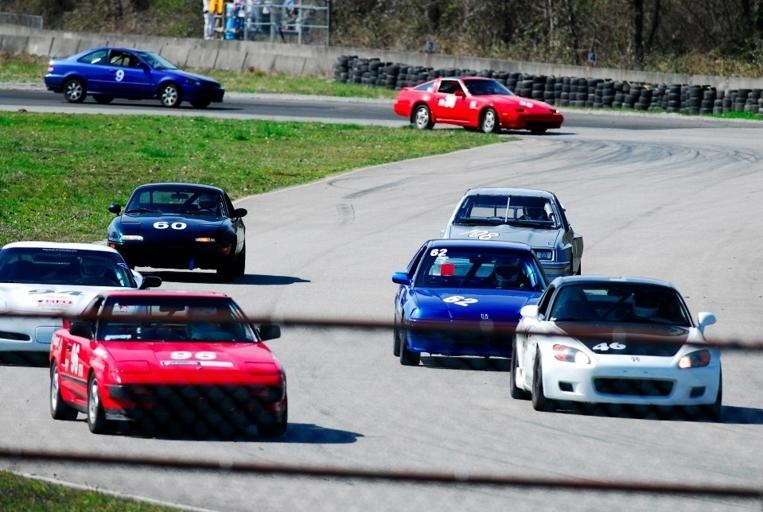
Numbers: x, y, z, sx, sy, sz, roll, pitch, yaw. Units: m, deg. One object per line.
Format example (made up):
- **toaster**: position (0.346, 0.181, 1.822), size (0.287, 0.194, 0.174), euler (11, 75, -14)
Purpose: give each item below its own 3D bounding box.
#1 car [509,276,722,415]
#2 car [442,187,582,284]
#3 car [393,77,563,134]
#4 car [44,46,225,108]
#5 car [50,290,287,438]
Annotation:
- **car**: position (2.745, 1.068, 14.617), size (2.388, 1.364, 1.516), euler (3, 13, 6)
- **car**: position (2.057, -0.303, 19.606), size (1.802, 0.976, 2.725), euler (3, 1, 9)
- **car**: position (2.863, -4.496, 37.257), size (4.459, 1.226, 2.047), euler (7, 8, 37)
- **car**: position (-8.256, -5.894, 40.950), size (5.609, 1.687, 2.236), euler (1, 5, 5)
- **car**: position (-2.377, 1.304, 13.522), size (2.429, 1.047, 1.650), euler (-2, 13, -15)
